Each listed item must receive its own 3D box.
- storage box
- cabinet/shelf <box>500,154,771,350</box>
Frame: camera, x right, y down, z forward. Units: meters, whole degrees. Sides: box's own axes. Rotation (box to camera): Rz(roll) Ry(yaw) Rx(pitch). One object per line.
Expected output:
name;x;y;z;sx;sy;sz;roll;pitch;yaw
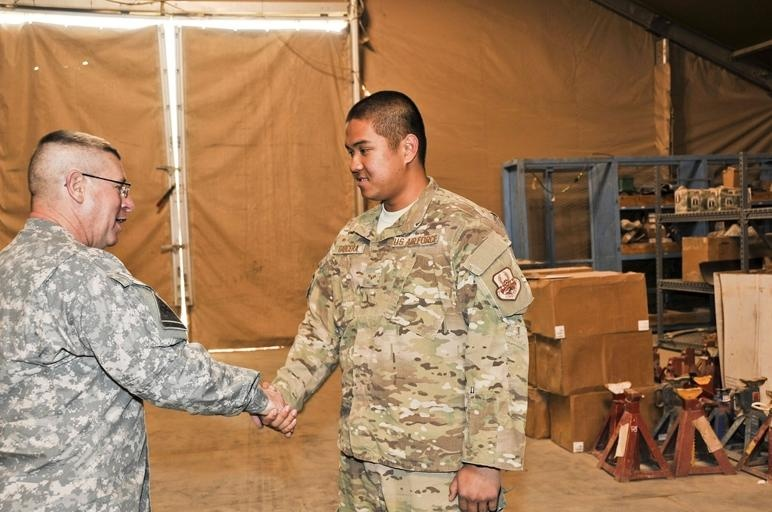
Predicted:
storage box;1.779;1.242;8.646;1.123;1.043;1.067;0;2;-26
cabinet/shelf;2.810;-0.110;10.281;2.521;1.477;0.736;-1;6;4
